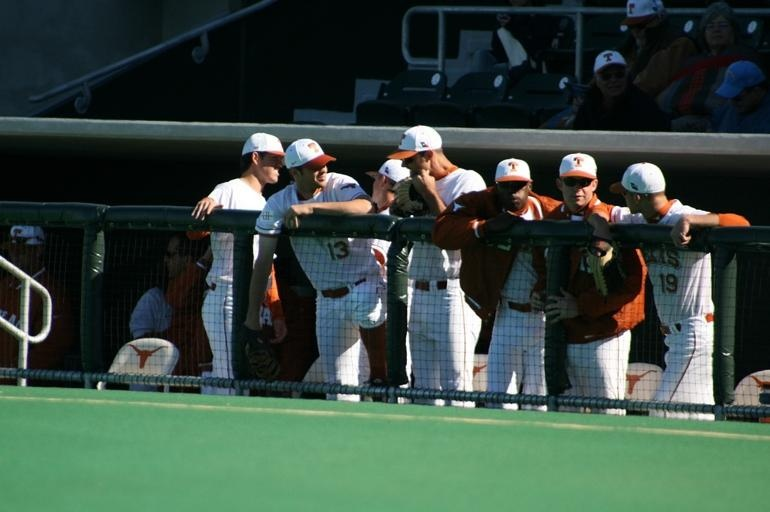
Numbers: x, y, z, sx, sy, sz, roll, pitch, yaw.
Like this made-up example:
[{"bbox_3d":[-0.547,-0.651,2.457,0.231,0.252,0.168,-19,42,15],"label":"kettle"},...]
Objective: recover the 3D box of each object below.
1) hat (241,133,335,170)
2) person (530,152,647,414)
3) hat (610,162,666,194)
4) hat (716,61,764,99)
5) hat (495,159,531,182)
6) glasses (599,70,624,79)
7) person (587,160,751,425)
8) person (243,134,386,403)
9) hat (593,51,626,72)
[{"bbox_3d":[-0.762,-0.819,16.293,0.536,0.182,0.351,3,7,9],"label":"hat"},{"bbox_3d":[1.636,0.219,15.869,0.774,2.008,0.553,0,-4,4],"label":"person"},{"bbox_3d":[1.994,-0.578,16.058,0.343,0.208,0.249,8,17,29],"label":"hat"},{"bbox_3d":[2.973,-1.476,17.309,0.377,0.227,0.256,-23,25,2],"label":"hat"},{"bbox_3d":[1.006,-0.647,15.950,0.268,0.196,0.193,0,-4,-2],"label":"hat"},{"bbox_3d":[1.932,-1.518,17.359,0.102,0.040,0.111,-4,22,16],"label":"glasses"},{"bbox_3d":[2.190,0.375,15.962,0.791,2.101,1.161,7,-25,-14],"label":"person"},{"bbox_3d":[-0.510,0.113,16.057,1.073,2.029,0.444,1,-4,-3],"label":"person"},{"bbox_3d":[1.914,-1.635,17.398,0.246,0.192,0.194,0,-4,5],"label":"hat"}]
